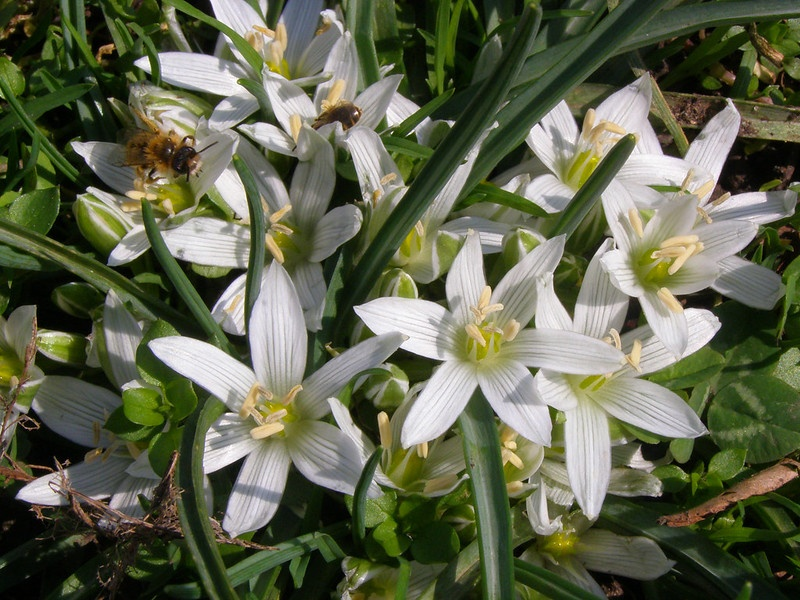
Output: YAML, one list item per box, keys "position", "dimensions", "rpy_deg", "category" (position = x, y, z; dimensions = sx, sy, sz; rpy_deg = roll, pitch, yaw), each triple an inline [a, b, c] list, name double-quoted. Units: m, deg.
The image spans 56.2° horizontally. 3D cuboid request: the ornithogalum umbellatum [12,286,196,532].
- position: [-0.883, 0.326, 2.433]
  dimensions: [0.577, 0.247, 0.651]
  rpy_deg: [7, 92, 31]
  category: "ornithogalum umbellatum"
